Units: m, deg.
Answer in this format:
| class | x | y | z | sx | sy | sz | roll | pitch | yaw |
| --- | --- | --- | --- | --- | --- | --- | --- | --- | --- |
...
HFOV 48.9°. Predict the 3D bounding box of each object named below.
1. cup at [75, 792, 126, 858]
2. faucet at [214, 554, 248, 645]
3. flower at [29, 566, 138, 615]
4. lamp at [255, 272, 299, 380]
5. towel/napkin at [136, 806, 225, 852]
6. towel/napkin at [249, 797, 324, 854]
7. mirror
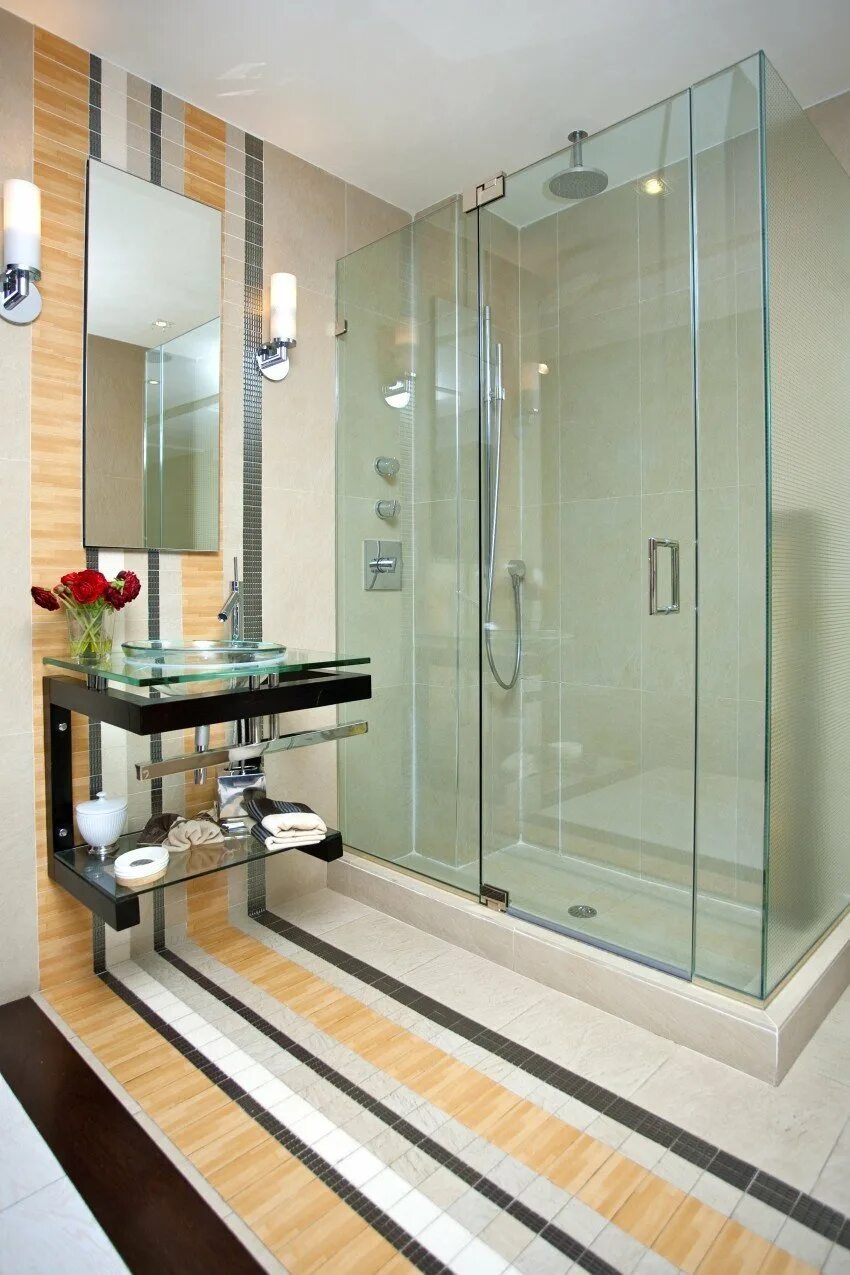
| class | x | y | z | sx | sy | sz | roll | pitch | yaw |
| --- | --- | --- | --- | --- | --- | --- | --- | --- | --- |
| cup | -0.822 | 0.472 | 2.370 | 0.131 | 0.180 | 0.145 | -2 | -5 | 20 |
| faucet | -0.552 | -0.094 | 2.653 | 0.072 | 0.241 | 0.393 | -2 | 8 | -11 |
| flower | -0.842 | -0.113 | 2.315 | 0.154 | 0.101 | 0.132 | -2 | 3 | 30 |
| lamp | -0.433 | -0.945 | 2.861 | 0.108 | 0.315 | 0.159 | 4 | 8 | 31 |
| towel/napkin | -0.654 | 0.522 | 2.532 | 0.209 | 0.057 | 0.210 | -3 | 9 | -18 |
| towel/napkin | -0.379 | 0.512 | 2.574 | 0.148 | 0.059 | 0.158 | 5 | 9 | -35 |
| mirror | -0.734 | -0.670 | 2.545 | 0.387 | 1.007 | 0.014 | 4 | 14 | 1 |
